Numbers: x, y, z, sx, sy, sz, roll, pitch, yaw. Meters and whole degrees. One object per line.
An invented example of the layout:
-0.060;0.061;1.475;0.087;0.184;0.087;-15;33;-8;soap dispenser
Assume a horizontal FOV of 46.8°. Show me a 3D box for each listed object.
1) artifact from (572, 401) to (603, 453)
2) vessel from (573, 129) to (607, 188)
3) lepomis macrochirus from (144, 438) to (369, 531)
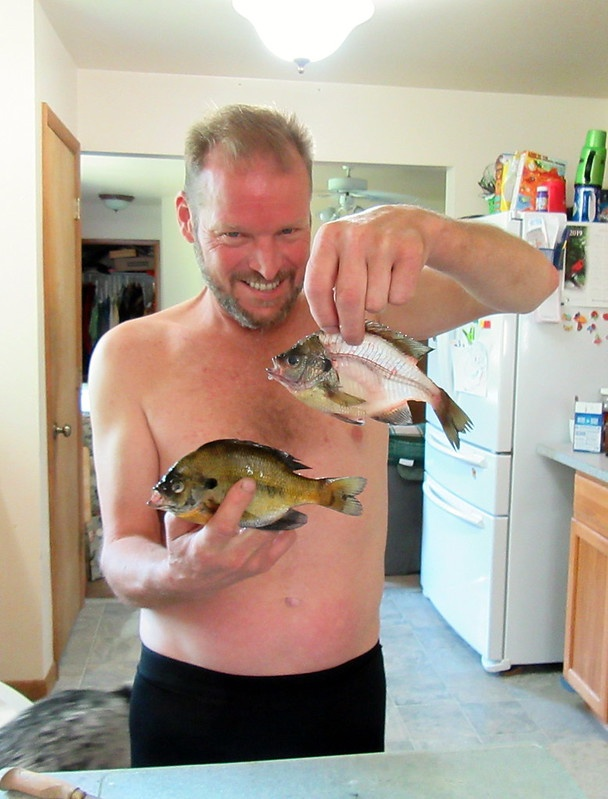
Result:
1.085;0.106;2.691;0.110;0.182;0.095;1;11;18;artifact
1.168;-0.980;2.862;0.117;0.241;0.198;2;11;20;vessel
-0.049;0.102;0.775;0.256;0.097;0.053;7;-11;-28;lepomis macrochirus
